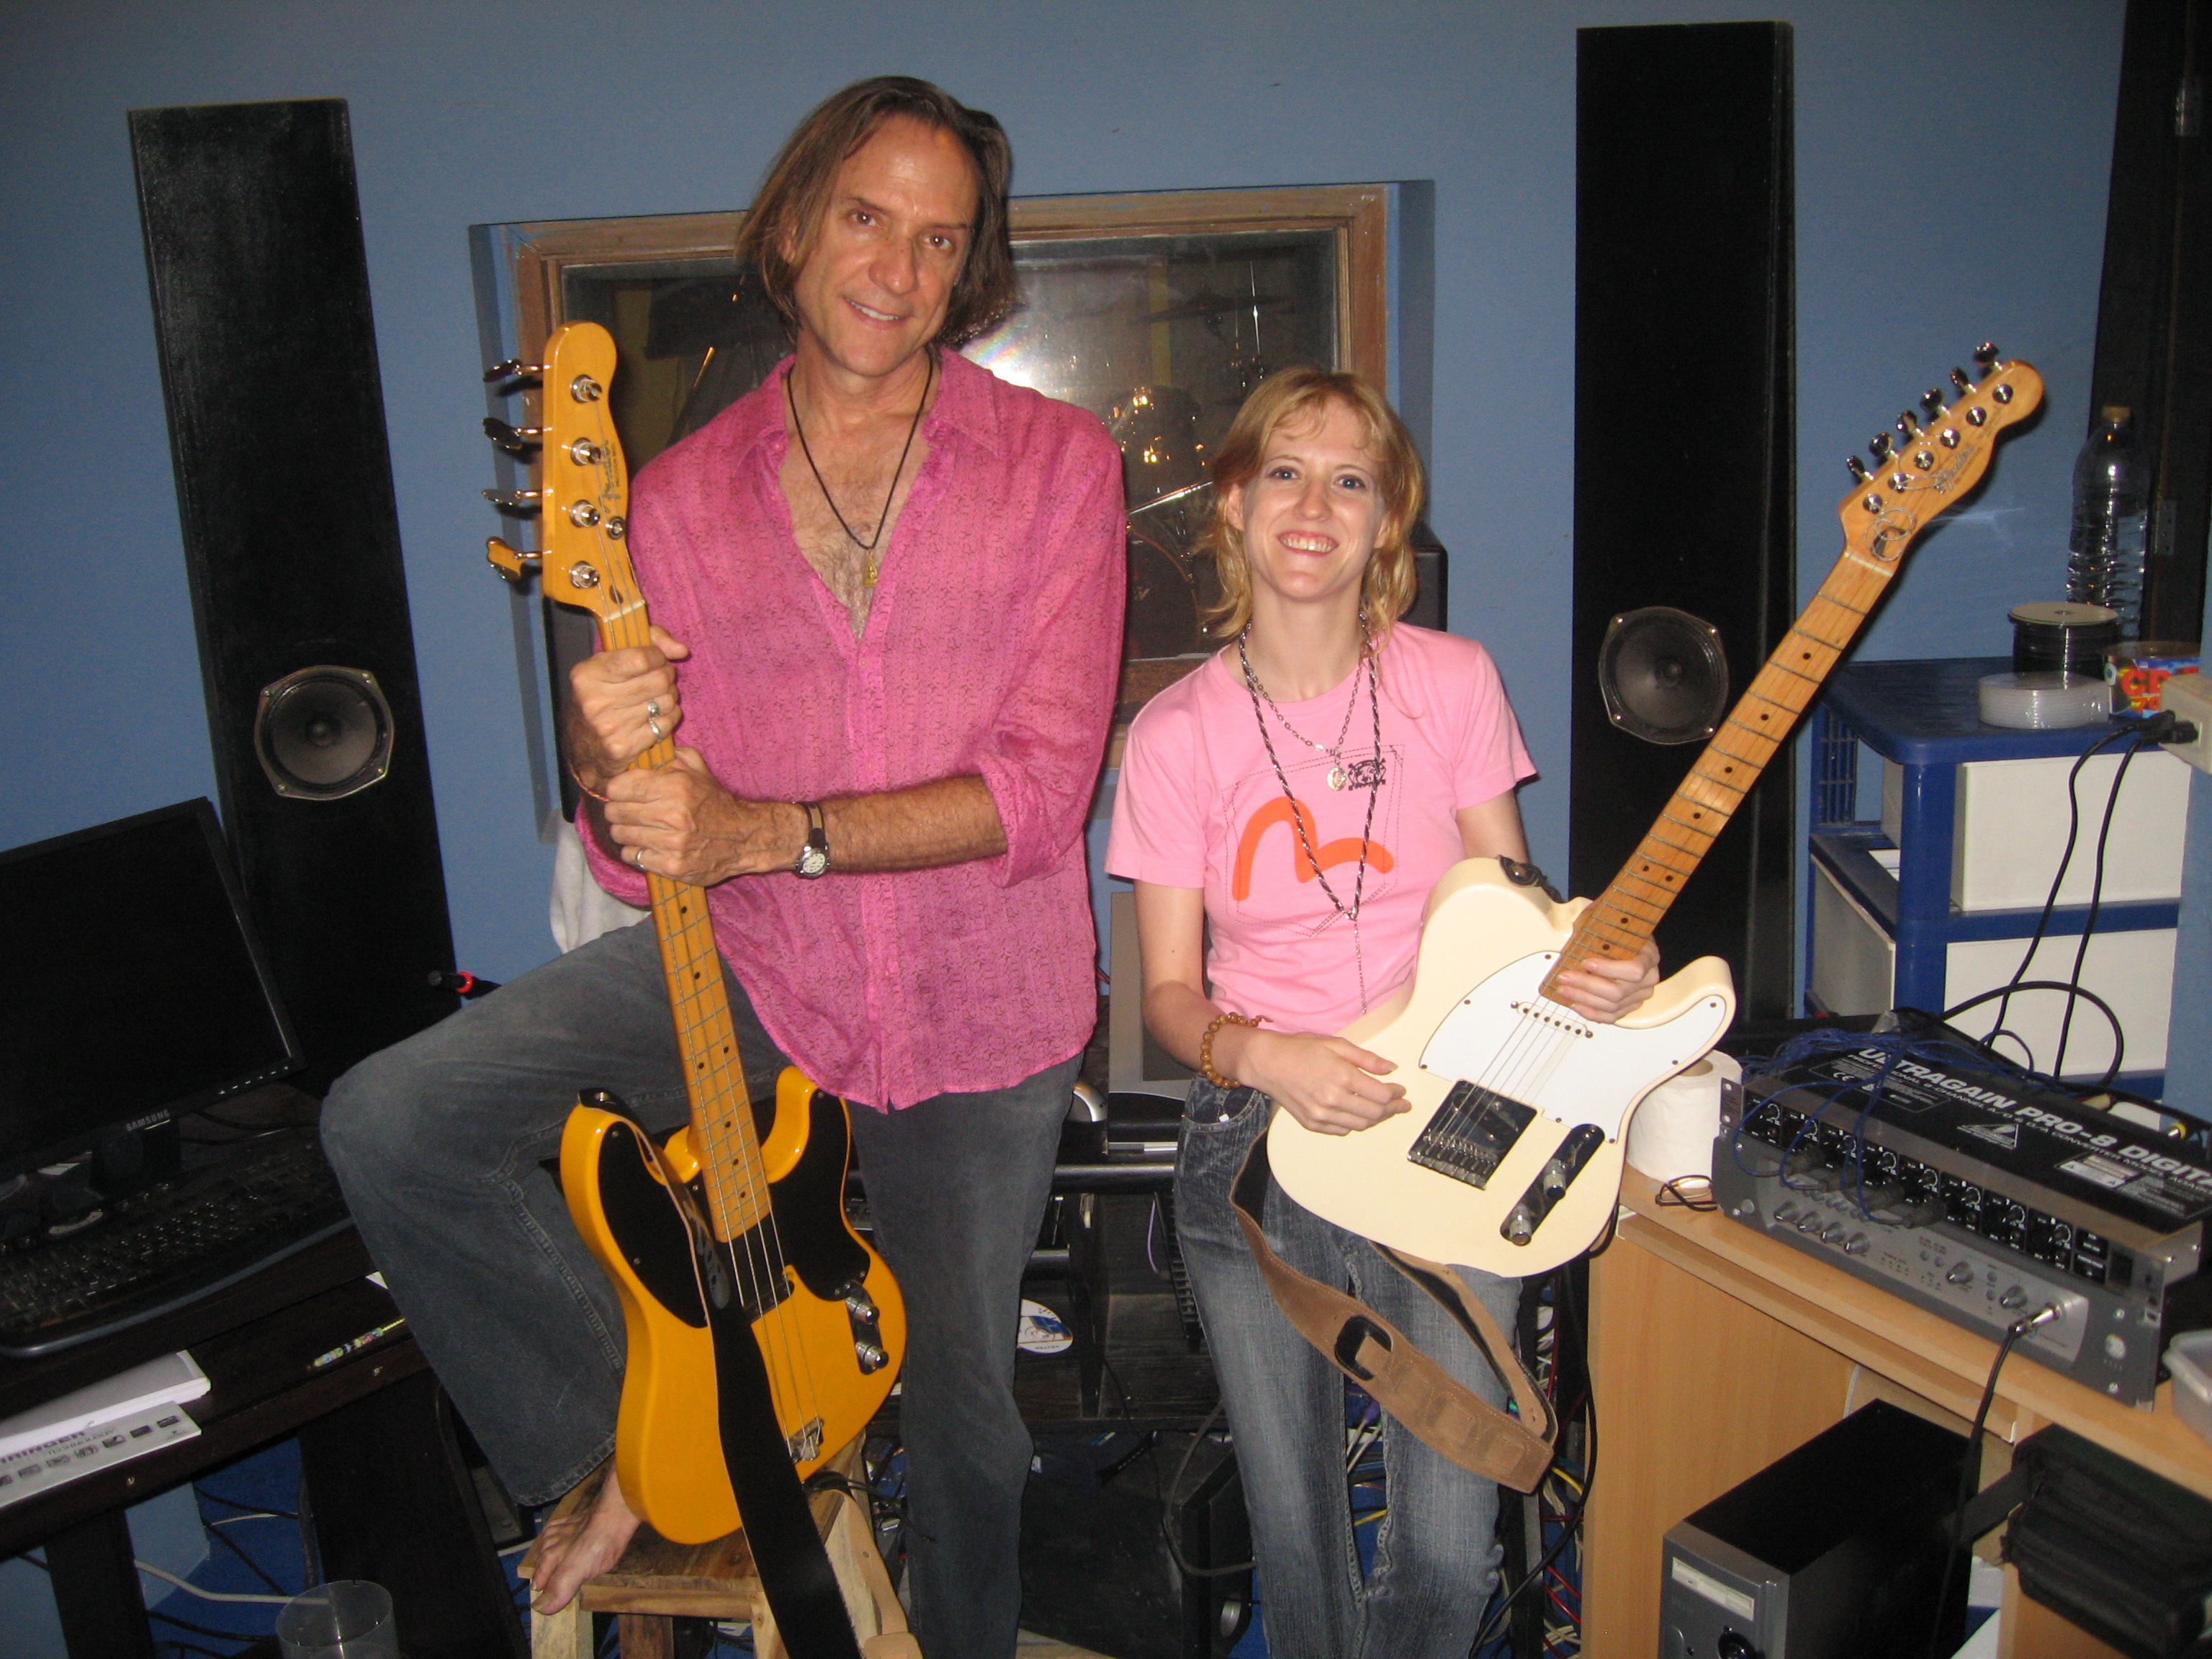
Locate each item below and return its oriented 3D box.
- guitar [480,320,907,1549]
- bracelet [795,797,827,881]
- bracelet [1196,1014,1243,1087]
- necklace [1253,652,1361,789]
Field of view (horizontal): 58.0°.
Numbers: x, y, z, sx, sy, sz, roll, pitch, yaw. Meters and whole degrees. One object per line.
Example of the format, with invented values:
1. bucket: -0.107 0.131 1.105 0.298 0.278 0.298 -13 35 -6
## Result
1. guitar: -0.592 0.201 2.893 0.263 1.811 0.587 10 14 44
2. bracelet: -0.425 0.018 2.885 0.046 0.089 0.090 -5 46 -9
3. bracelet: 0.167 0.329 3.020 0.073 0.103 0.037 1 6 1
4. necklace: 0.343 -0.163 3.065 0.148 0.158 0.040 -10 -2 -1
